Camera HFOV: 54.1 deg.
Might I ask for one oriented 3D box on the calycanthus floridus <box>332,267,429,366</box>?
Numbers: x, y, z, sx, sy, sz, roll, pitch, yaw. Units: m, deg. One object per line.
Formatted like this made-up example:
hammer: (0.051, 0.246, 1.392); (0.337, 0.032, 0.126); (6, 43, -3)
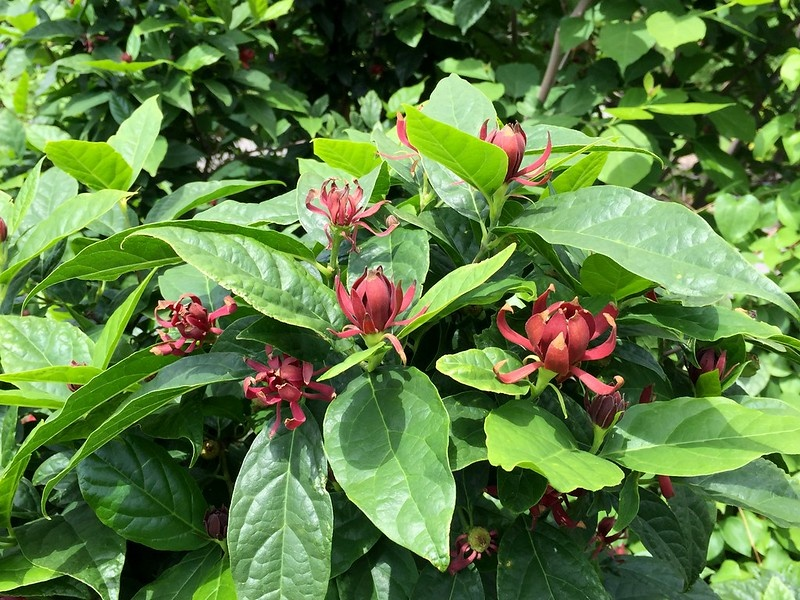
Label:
calycanthus floridus: (-0.060, 0.022, 1.734); (0.190, 0.156, 0.210); (4, 14, 10)

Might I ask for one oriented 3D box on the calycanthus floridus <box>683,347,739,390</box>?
calycanthus floridus: (0.771, 0.149, 1.965); (0.116, 0.064, 0.131); (-3, 35, -26)

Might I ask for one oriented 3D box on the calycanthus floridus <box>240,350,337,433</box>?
calycanthus floridus: (-0.263, 0.210, 1.785); (0.213, 0.163, 0.150); (25, 45, 21)

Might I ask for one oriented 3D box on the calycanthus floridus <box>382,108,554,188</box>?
calycanthus floridus: (0.171, -0.342, 1.869); (0.283, 0.150, 0.243); (25, 2, 2)

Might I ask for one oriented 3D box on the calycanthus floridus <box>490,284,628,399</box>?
calycanthus floridus: (0.374, 0.095, 1.751); (0.225, 0.182, 0.270); (-3, 11, 12)

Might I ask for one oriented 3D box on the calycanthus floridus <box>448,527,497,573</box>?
calycanthus floridus: (0.169, 0.602, 1.944); (0.112, 0.109, 0.052); (-30, 97, -29)

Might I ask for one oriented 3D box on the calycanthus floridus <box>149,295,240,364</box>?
calycanthus floridus: (-0.520, 0.082, 1.913); (0.097, 0.192, 0.146); (45, 46, -19)

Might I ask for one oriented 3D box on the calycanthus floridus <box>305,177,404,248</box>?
calycanthus floridus: (-0.123, -0.193, 1.850); (0.203, 0.270, 0.184); (-7, 81, -17)
